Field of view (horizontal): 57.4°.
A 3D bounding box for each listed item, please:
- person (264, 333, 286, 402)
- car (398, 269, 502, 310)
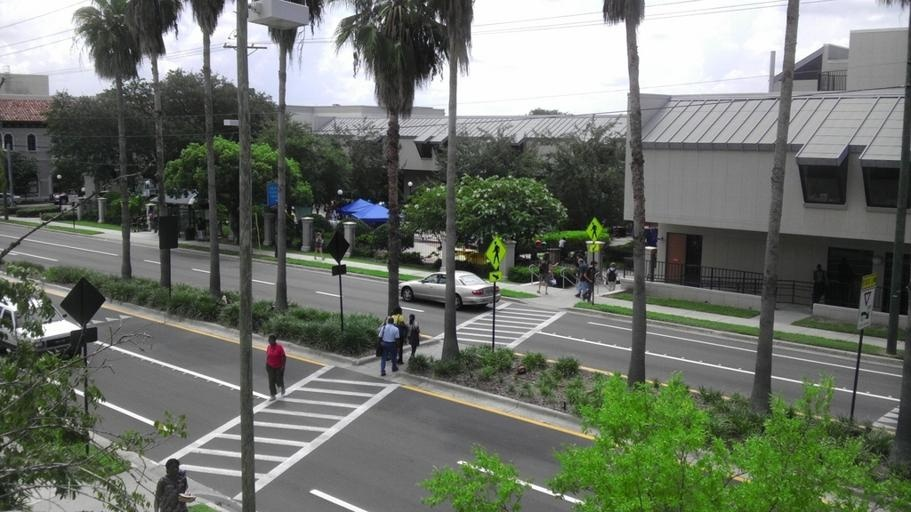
[{"bbox_3d":[-7.458,4.578,34.639,0.776,2.774,1.467,1,6,-11],"label":"person"},{"bbox_3d":[-0.289,1.888,46.399,5.105,1.704,2.326,5,6,29],"label":"car"}]
